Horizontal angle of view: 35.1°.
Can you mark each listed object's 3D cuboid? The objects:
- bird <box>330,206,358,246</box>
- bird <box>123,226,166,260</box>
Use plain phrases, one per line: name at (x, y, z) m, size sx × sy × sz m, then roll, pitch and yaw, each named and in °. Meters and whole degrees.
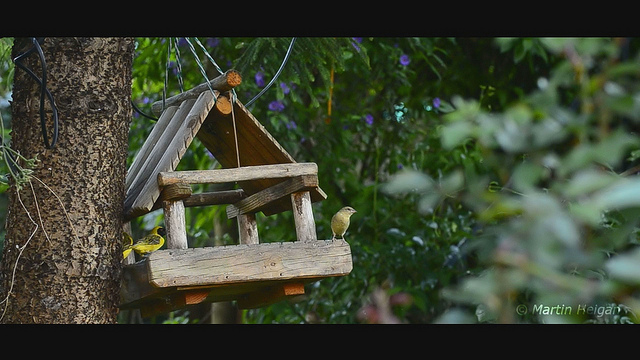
bird at (0.082, 0.266, 6.095) m, size 0.280 × 0.210 × 0.114 m, roll -4°, pitch -9°, yaw 43°
bird at (-1.060, 0.367, 6.005) m, size 0.308 × 0.184 × 0.114 m, roll -7°, pitch 5°, yaw -25°
